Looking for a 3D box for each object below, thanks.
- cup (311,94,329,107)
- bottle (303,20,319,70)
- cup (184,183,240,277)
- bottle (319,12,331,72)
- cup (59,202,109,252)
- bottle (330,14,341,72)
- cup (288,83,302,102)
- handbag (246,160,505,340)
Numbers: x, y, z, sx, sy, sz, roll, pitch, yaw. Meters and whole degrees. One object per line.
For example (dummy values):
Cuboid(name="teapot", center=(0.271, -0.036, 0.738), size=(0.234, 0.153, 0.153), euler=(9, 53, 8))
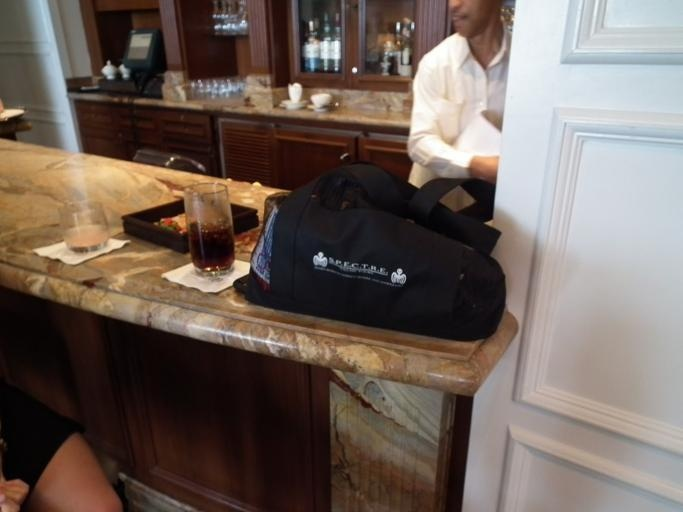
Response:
Cuboid(name="cup", center=(-0.161, -1.225, 4.098), size=(0.140, 0.101, 0.226), euler=(-1, 25, -7))
Cuboid(name="bottle", center=(-0.247, -1.723, 4.280), size=(0.158, 0.390, 0.046), euler=(15, 27, 29))
Cuboid(name="cup", center=(-0.336, -0.064, 1.336), size=(0.109, 0.212, 0.088), euler=(-6, 25, -18))
Cuboid(name="bottle", center=(-0.127, -1.716, 4.205), size=(0.123, 0.425, 0.046), euler=(19, 29, 35))
Cuboid(name="cup", center=(-0.710, -0.093, 1.490), size=(0.122, 0.133, 0.129), euler=(0, 14, 0))
Cuboid(name="bottle", center=(-0.029, -1.686, 4.133), size=(0.048, 0.446, 0.158), euler=(-12, 27, -29))
Cuboid(name="cup", center=(-0.372, -1.314, 4.197), size=(0.093, 0.138, 0.243), euler=(-2, 25, -9))
Cuboid(name="handbag", center=(0.056, -0.028, 1.177), size=(0.626, 0.323, 0.247), euler=(8, 25, 14))
